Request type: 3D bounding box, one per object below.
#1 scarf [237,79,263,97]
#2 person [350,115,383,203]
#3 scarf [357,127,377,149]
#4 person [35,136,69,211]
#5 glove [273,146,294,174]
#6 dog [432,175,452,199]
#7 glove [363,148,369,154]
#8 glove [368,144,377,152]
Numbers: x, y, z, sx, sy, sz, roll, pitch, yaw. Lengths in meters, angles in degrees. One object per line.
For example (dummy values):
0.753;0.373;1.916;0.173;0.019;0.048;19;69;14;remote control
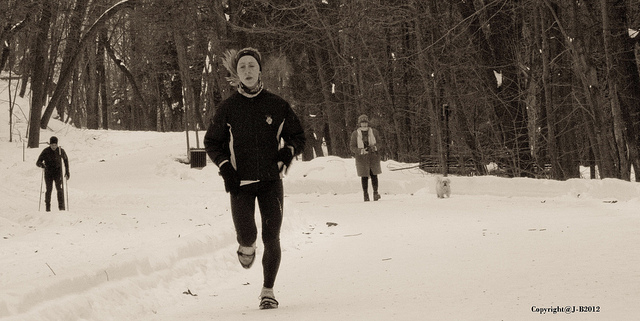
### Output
-2.257;-2.362;19.866;0.580;0.249;0.619;-7;23;-10;scarf
2.130;-0.084;28.434;1.308;3.945;1.153;-2;2;5;person
2.035;-0.999;28.584;0.880;0.894;0.313;-2;-5;0;scarf
-12.716;0.631;29.747;1.452;2.606;0.929;-1;2;14;person
-1.132;-0.049;19.714;0.617;0.781;0.255;9;2;7;glove
5.715;1.323;28.786;0.760;0.965;1.293;0;-10;5;dog
2.028;-0.408;28.017;0.170;0.259;0.304;-1;2;25;glove
2.388;-0.539;28.072;0.341;0.285;0.139;-1;2;31;glove
